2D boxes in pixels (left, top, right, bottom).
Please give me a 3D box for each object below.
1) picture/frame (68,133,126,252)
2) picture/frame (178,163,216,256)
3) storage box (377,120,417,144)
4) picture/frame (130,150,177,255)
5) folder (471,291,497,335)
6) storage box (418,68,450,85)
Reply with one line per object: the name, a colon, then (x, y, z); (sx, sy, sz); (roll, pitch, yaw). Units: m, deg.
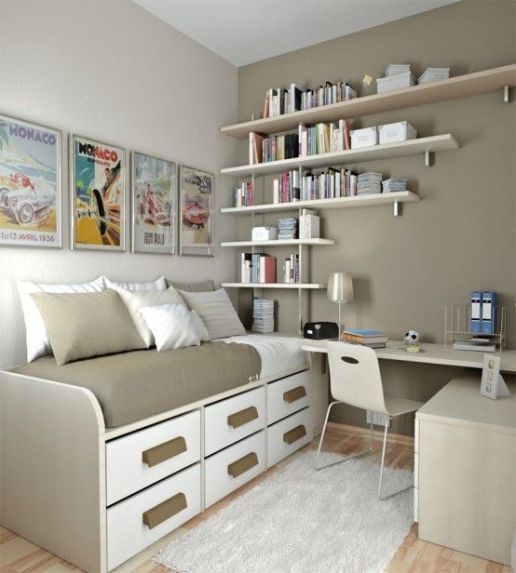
picture/frame: (-0.883, -0.509, 2.691); (0.035, 0.594, 0.392); (3, 5, 30)
picture/frame: (-0.431, -0.527, 3.424); (0.083, 0.606, 0.414); (2, 4, 22)
storage box: (0.851, -0.907, 2.963); (0.174, 0.108, 0.177); (4, 11, 35)
picture/frame: (-0.646, -0.518, 3.077); (0.086, 0.604, 0.456); (2, 4, 23)
folder: (1.271, 0.153, 2.735); (0.144, 0.253, 0.193); (2, 4, 23)
storage box: (1.026, -1.227, 2.863); (0.145, 0.103, 0.163); (-10, 15, -29)
